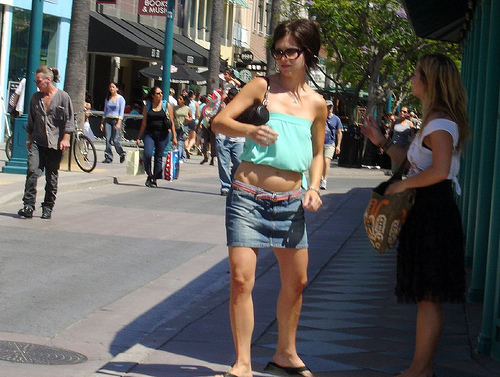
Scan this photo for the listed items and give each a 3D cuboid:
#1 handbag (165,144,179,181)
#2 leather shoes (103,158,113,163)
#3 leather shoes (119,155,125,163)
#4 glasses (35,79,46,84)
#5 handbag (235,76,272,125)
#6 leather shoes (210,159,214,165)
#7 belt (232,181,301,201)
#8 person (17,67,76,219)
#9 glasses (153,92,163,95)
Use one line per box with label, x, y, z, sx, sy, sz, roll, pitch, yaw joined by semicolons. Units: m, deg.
handbag;-1.889;-0.560;12.964;0.265;0.780;0.420;4;6;29
leather shoes;-4.721;-0.898;17.578;0.282;0.192;0.168;10;7;-15
leather shoes;-4.283;-0.965;17.739;0.110;0.332;0.148;7;19;3
glasses;-3.376;-1.706;8.488;0.089;0.032;0.094;1;1;23
handbag;0.040;-0.510;3.096;0.215;0.291;0.206;-1;5;-15
leather shoes;-1.415;-0.966;19.957;0.193;0.190;0.174;1;-2;0
belt;0.105;0.017;3.186;0.429;0.121;0.182;1;5;-1
person;-3.429;-0.747;8.636;0.947;2.430;0.884;8;6;37
glasses;-2.201;-2.298;12.894;0.131;0.098;0.245;3;6;24
